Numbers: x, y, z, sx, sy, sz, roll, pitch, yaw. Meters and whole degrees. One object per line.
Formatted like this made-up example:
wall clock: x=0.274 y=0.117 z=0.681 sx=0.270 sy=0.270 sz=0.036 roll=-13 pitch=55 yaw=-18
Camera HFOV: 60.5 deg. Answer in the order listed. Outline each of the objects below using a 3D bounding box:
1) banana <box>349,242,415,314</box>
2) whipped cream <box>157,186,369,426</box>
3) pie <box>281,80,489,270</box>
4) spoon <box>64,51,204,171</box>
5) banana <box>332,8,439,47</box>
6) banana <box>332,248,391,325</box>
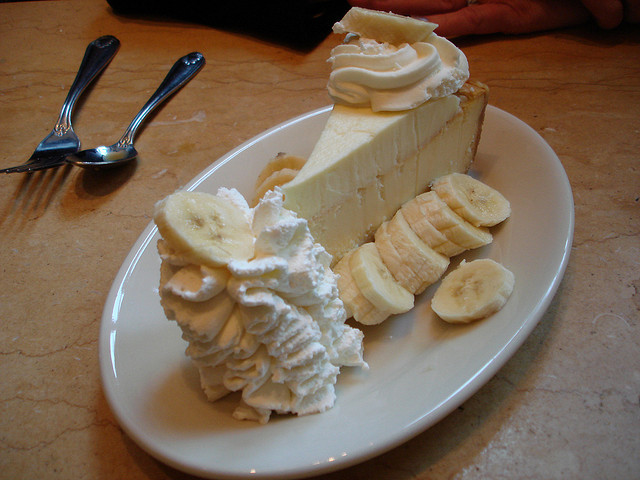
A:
banana: x=0.160 y=0.090 z=1.347 sx=0.041 sy=0.157 sz=0.165 roll=-43 pitch=81 yaw=20
whipped cream: x=-0.143 y=0.152 z=1.317 sx=0.447 sy=0.485 sz=0.370 roll=-16 pitch=34 yaw=-26
pie: x=0.088 y=-0.233 z=1.684 sx=0.605 sy=0.485 sz=0.500 roll=-13 pitch=32 yaw=-24
spoon: x=-0.609 y=-0.416 z=1.885 sx=0.165 sy=0.111 sz=0.727 roll=22 pitch=57 yaw=1
banana: x=0.174 y=-0.554 z=1.433 sx=0.225 sy=0.075 sz=0.120 roll=-3 pitch=39 yaw=8
banana: x=0.100 y=0.117 z=1.333 sx=0.038 sy=0.152 sz=0.159 roll=-40 pitch=38 yaw=23
